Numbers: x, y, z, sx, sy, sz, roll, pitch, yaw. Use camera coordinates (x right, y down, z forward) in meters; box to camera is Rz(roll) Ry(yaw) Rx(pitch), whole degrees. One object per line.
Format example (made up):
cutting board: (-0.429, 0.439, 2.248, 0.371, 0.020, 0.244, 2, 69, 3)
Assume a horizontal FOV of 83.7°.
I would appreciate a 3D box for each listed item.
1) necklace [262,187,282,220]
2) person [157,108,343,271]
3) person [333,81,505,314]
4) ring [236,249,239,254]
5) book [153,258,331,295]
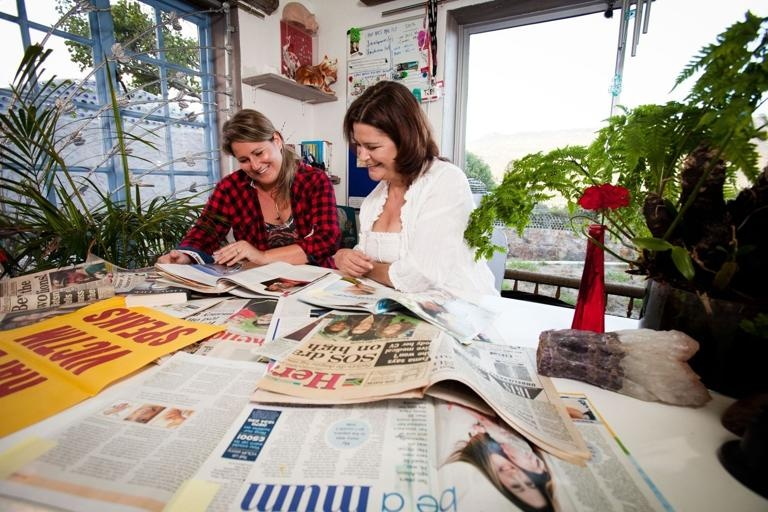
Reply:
necklace: (-0.577, -0.264, 2.196, 0.116, 0.143, 0.042, -5, 8, 17)
person: (-0.558, -0.273, 2.081, 0.713, 0.623, 0.871, 0, 3, 19)
person: (0.139, -0.266, 1.787, 0.675, 0.804, 0.691, -5, 7, -23)
ring: (-0.568, -0.019, 1.653, 0.015, 0.017, 0.006, 0, -18, -6)
book: (-0.462, 0.063, 1.392, 0.435, 0.060, 0.277, 7, 11, 8)
